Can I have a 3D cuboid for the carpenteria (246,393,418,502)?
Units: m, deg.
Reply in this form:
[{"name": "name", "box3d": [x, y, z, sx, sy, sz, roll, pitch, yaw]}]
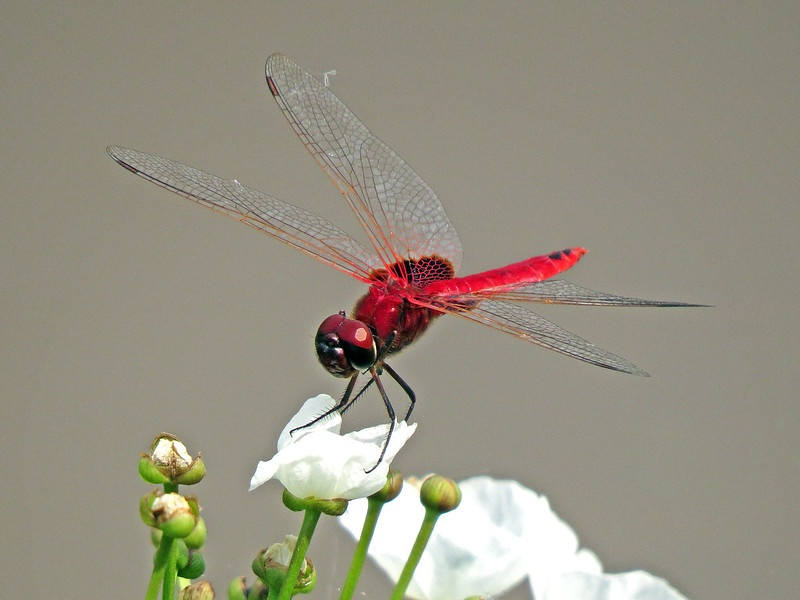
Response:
[{"name": "carpenteria", "box3d": [-0.107, 0.253, 2.034, 0.247, 0.307, 0.134, 12, -78, 0]}]
